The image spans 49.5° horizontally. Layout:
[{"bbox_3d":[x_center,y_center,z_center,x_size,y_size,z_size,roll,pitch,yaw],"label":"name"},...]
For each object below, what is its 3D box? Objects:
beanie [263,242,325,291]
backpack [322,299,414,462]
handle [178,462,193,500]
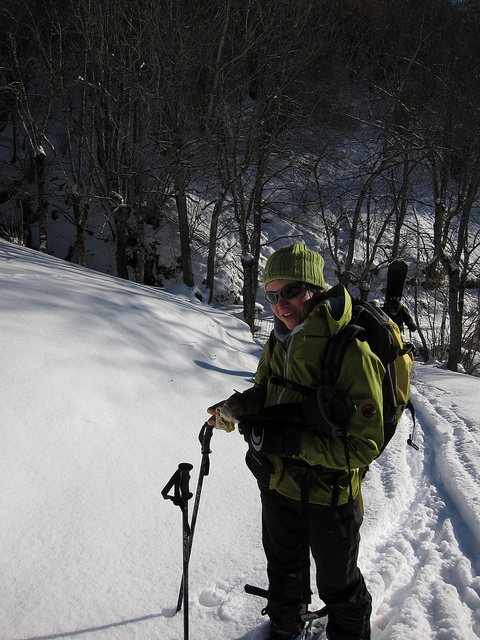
[{"bbox_3d":[0.268,-0.228,2.520,0.189,0.220,0.258,-2,-14,26],"label":"beanie"},{"bbox_3d":[0.610,0.347,2.458,0.432,0.702,0.472,-7,-11,27],"label":"backpack"},{"bbox_3d":[-0.261,0.752,2.493,0.063,0.186,0.168,4,8,-5],"label":"handle"}]
